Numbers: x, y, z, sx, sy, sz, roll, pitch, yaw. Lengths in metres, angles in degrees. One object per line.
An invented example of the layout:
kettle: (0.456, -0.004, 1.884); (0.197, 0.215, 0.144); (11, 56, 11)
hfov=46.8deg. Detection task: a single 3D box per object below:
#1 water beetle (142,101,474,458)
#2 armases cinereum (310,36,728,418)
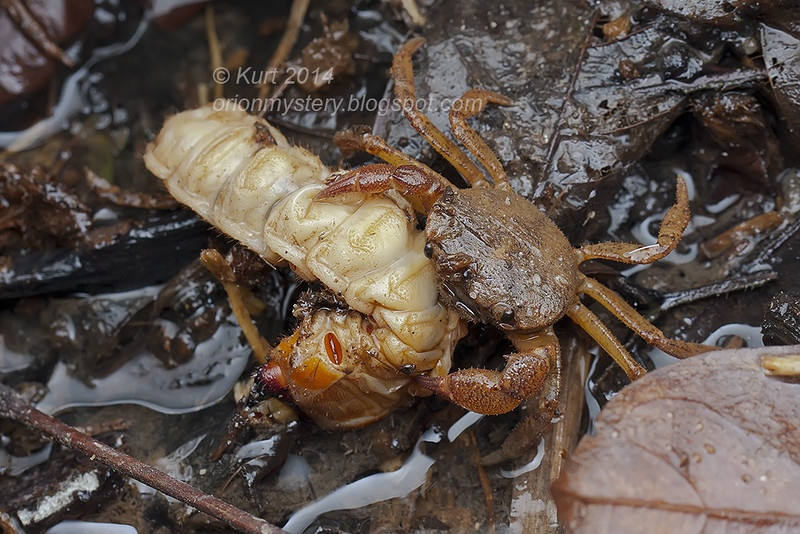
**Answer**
water beetle: (-0.813, 0.058, 7.044); (2.137, 2.415, 3.160); (-16, 16, -40)
armases cinereum: (0.819, 0.057, 7.812); (2.254, 0.981, 2.759); (-41, 87, -18)
